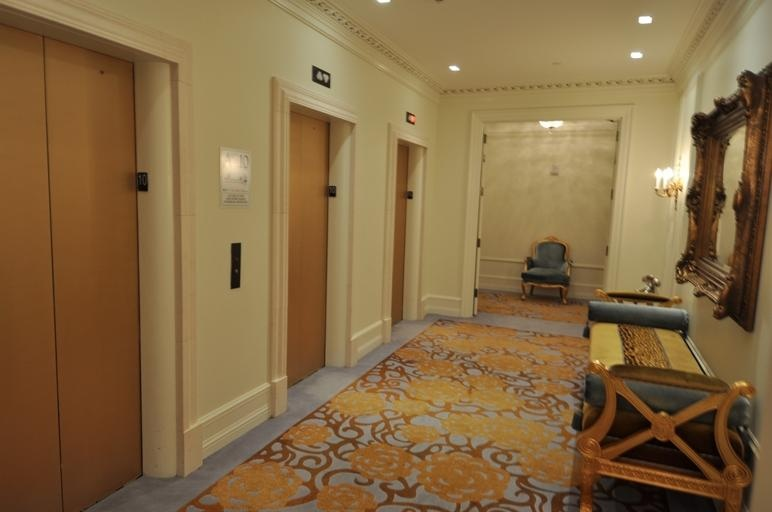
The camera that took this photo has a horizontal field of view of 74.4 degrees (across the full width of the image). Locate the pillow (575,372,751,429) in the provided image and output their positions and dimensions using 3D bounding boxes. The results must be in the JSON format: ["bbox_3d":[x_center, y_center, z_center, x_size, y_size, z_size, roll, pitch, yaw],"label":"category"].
[{"bbox_3d":[1.901,1.030,3.718,0.620,0.155,0.685,7,5,33],"label":"pillow"}]

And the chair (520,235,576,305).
[{"bbox_3d":[3.049,0.241,9.688,0.979,1.156,0.951,1,8,-4],"label":"chair"}]

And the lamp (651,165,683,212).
[{"bbox_3d":[3.787,-0.928,6.775,0.398,0.763,0.514,5,5,26],"label":"lamp"}]
